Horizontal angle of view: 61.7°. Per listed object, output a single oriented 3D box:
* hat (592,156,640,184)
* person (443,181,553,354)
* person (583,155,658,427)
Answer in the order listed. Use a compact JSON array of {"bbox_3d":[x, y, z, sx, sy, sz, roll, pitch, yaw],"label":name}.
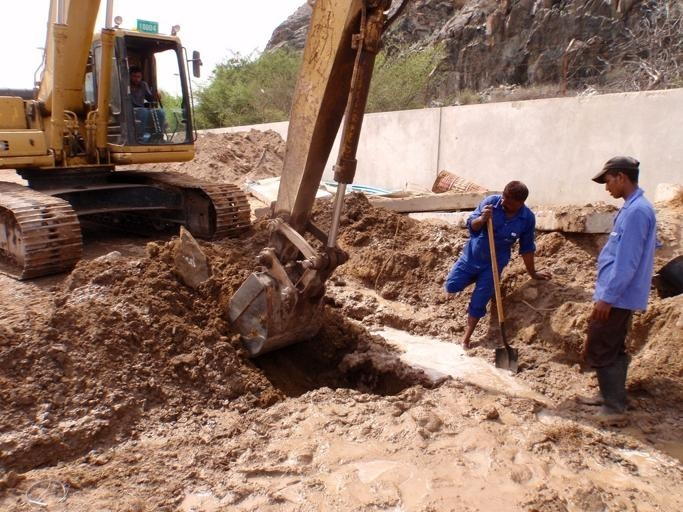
[{"bbox_3d":[2.472,-0.773,5.185,0.362,0.206,0.244,4,9,30],"label":"hat"},{"bbox_3d":[1.787,0.204,6.451,1.045,2.046,0.847,15,17,-3],"label":"person"},{"bbox_3d":[2.457,0.285,5.114,0.512,2.248,0.654,7,16,19],"label":"person"}]
